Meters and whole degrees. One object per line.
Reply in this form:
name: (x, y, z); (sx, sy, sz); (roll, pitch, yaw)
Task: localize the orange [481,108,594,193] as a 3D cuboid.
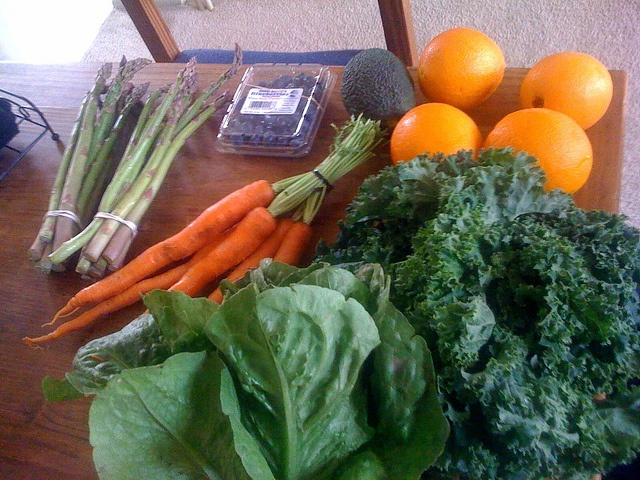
orange: (0.417, -0.169, 0.939); (0.161, 0.118, 0.153); (-8, 51, -11)

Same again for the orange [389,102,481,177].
orange: (0.226, -0.210, 1.050); (0.177, 0.150, 0.146); (-15, 68, -14)
